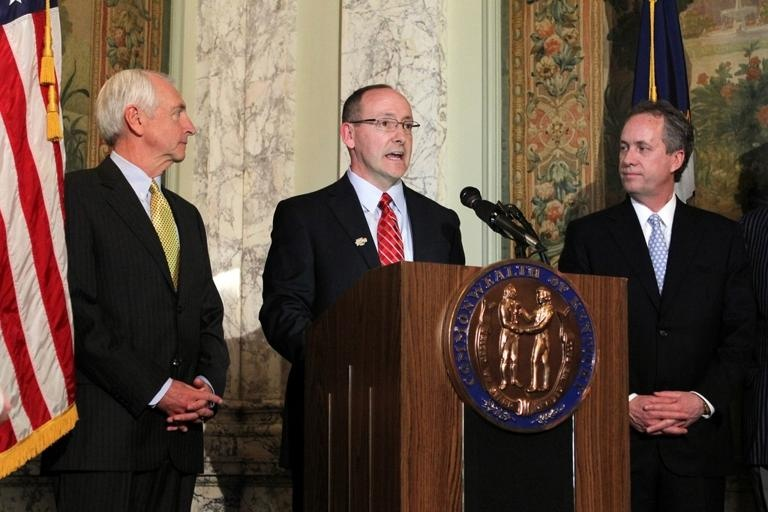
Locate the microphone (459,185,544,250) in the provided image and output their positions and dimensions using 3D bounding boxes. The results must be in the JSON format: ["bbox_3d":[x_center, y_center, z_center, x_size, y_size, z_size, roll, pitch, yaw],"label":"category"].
[{"bbox_3d":[0.522,-0.166,5.283,0.122,0.139,0.585,3,24,-37],"label":"microphone"}]

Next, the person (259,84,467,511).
[{"bbox_3d":[-0.159,-0.173,5.899,1.121,1.379,0.559,-5,5,-36],"label":"person"}]

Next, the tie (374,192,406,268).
[{"bbox_3d":[0.019,-0.134,5.842,0.100,0.415,0.044,-12,-30,3],"label":"tie"}]
